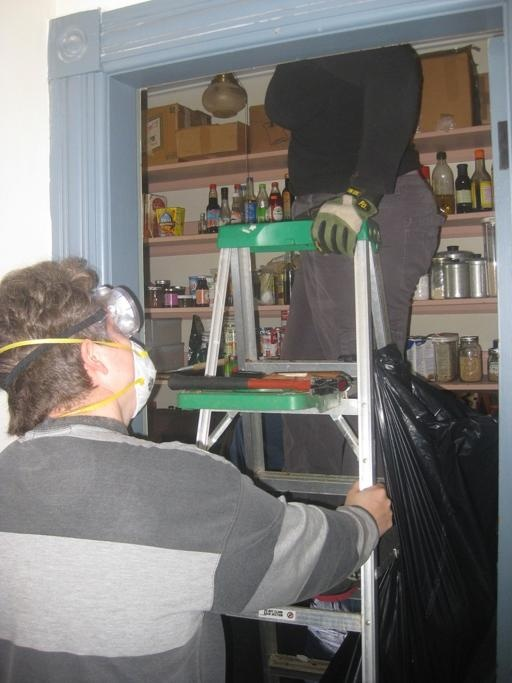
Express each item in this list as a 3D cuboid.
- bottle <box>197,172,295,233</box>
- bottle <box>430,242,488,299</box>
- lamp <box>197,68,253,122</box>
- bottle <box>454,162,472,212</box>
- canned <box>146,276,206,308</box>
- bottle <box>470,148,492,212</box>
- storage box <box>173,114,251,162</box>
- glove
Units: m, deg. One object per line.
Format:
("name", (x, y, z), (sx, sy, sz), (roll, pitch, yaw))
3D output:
("bottle", (-0.038, -0.680, 3.055), (0.573, 0.423, 0.295), (-1, 14, 16))
("bottle", (0.845, -0.302, 2.484), (0.208, 0.209, 0.165), (1, 15, 7))
("lamp", (-0.138, -1.079, 2.564), (0.174, 0.153, 0.183), (0, 1, -28))
("bottle", (0.885, -0.653, 2.544), (0.068, 0.234, 0.155), (0, 0, 19))
("canned", (-0.397, -0.244, 3.113), (0.266, 0.177, 0.188), (-1, 13, 11))
("bottle", (0.963, -0.666, 2.547), (0.083, 0.249, 0.185), (0, 0, 19))
("storage box", (-0.232, -0.988, 2.942), (0.371, 0.146, 0.141), (0, 1, 23))
("glove", (0.172, -0.253, 1.199), (0.134, 0.128, 0.056), (5, -12, 15))
